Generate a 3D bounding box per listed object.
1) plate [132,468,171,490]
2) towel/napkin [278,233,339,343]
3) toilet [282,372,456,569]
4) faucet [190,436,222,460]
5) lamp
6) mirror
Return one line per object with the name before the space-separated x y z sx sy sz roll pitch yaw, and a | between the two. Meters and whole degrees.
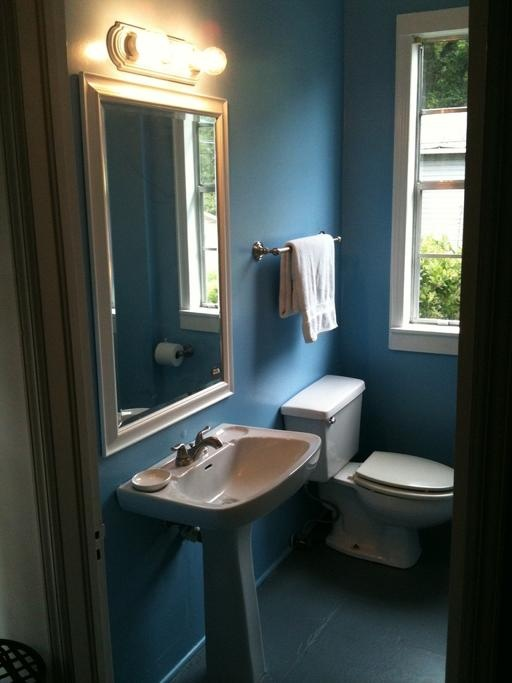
plate | -0.302 0.398 1.632 0.104 0.025 0.121 2 12 15
towel/napkin | 0.210 -0.226 2.397 0.153 0.482 0.365 4 12 24
toilet | 0.553 0.625 2.625 0.627 0.818 0.447 4 17 26
faucet | -0.159 0.331 1.797 0.054 0.039 0.100 0 13 28
lamp | -0.224 -0.776 1.548 0.111 0.144 0.334 17 23 36
mirror | -0.250 -0.235 1.706 0.050 1.002 0.675 4 11 27
